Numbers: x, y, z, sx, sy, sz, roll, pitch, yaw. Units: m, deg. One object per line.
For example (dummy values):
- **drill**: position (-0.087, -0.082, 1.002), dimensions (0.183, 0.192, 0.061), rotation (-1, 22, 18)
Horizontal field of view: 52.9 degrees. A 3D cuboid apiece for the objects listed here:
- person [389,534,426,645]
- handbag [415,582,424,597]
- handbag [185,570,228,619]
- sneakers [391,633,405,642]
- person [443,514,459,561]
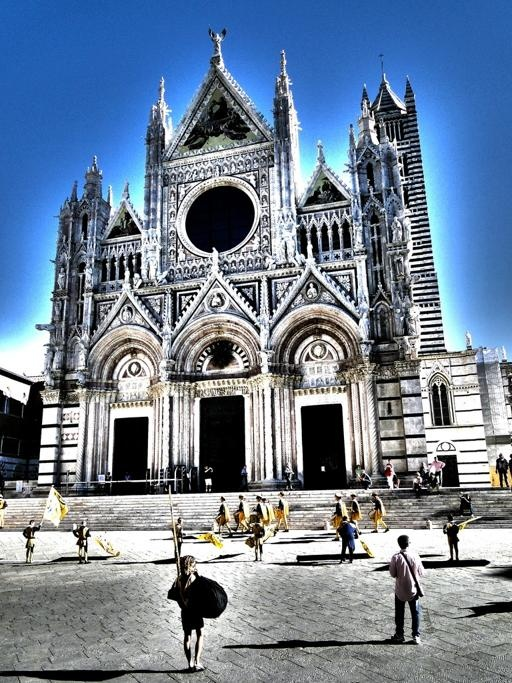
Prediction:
- **person**: position (1.675, 2.747, 5.762), dimensions (0.372, 1.072, 0.775), rotation (-6, -12, 15)
- **handbag**: position (1.749, 2.674, 5.557), dimensions (0.093, 0.047, 0.135), rotation (6, -10, 1)
- **handbag**: position (-0.443, 2.317, 4.700), dimensions (0.350, 0.342, 0.259), rotation (-6, -12, 18)
- **sneakers**: position (1.488, 3.123, 5.444), dimensions (0.137, 0.080, 0.154), rotation (-5, -12, 13)
- **person**: position (4.414, 4.457, 11.601), dimensions (0.298, 0.881, 1.573), rotation (-7, -12, 20)
